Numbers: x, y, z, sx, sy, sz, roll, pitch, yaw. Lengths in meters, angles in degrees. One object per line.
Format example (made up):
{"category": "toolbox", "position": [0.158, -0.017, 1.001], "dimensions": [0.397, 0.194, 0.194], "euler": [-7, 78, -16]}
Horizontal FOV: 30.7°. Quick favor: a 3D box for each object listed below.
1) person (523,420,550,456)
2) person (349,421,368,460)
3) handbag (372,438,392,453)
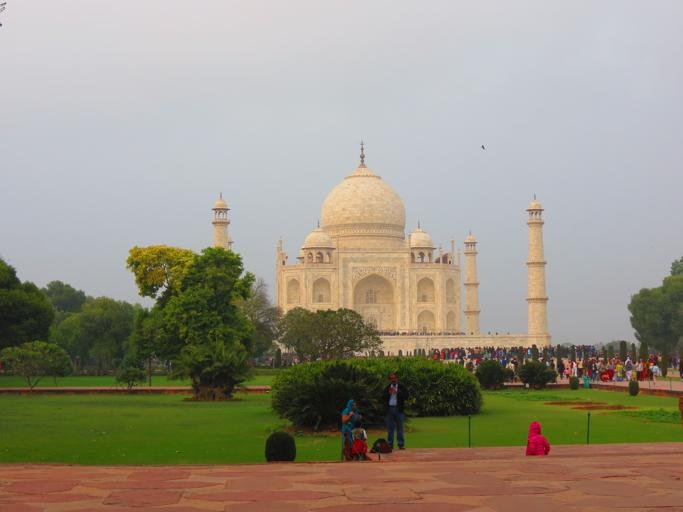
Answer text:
{"category": "person", "position": [3.994, 3.627, 24.960], "dimensions": [0.518, 0.787, 1.513], "euler": [-1, -13, 9]}
{"category": "person", "position": [0.381, 3.728, 24.916], "dimensions": [0.328, 0.668, 0.501], "euler": [1, -14, 1]}
{"category": "handbag", "position": [0.827, 3.862, 25.418], "dimensions": [0.269, 0.175, 0.385], "euler": [2, -13, -6]}
